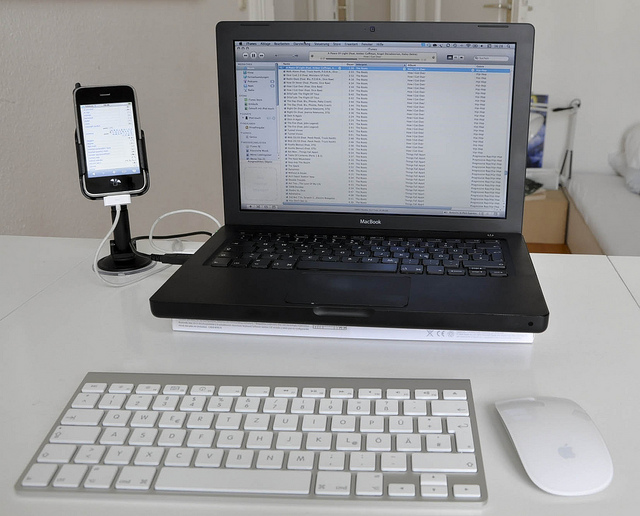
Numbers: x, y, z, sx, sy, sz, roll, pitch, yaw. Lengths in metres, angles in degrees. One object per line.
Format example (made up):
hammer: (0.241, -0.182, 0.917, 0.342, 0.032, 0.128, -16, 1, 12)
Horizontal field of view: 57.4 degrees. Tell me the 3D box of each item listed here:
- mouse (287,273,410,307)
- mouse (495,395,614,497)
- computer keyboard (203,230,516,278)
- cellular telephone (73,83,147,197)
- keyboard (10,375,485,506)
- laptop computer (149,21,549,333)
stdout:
mouse: (0.040, 0.042, 0.788, 0.159, 0.011, 0.077, 2, 21, 6)
mouse: (0.241, 0.183, 0.599, 0.088, 0.033, 0.138, -9, 28, -6)
computer keyboard: (0.061, -0.009, 0.877, 0.445, 0.023, 0.120, 2, 21, 6)
cellular telephone: (-0.337, -0.189, 0.941, 0.097, 0.168, 0.047, -8, 21, -20)
keyboard: (-0.063, 0.184, 0.616, 0.464, 0.042, 0.162, 0, 21, 1)
laptop computer: (0.055, -0.134, 0.796, 0.503, 0.363, 0.359, 1, 21, 6)
